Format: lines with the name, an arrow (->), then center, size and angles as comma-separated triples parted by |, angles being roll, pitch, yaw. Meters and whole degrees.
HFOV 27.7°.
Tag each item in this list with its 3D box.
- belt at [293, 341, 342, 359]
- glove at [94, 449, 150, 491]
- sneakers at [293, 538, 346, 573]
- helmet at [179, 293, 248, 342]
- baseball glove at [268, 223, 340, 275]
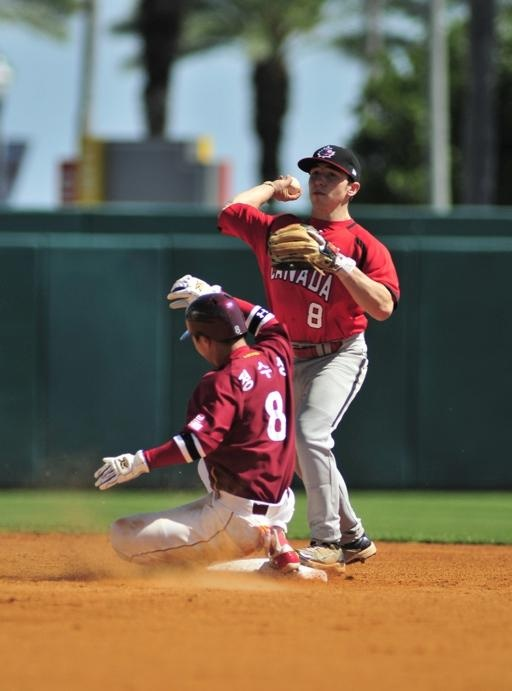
belt -> 0.222, 0.002, 3.917 | 0.128, 0.040, 0.087 | -7, 3, 2
glove -> -0.453, 0.406, 3.405 | 0.156, 0.145, 0.239 | 1, 2, -18
sneakers -> 0.243, 0.751, 3.717 | 0.227, 0.088, 0.078 | 14, -16, -30
helmet -> -0.144, -0.097, 3.479 | 0.228, 0.155, 0.156 | 9, 25, 37
baseball glove -> 0.139, -0.336, 3.602 | 0.230, 0.097, 0.158 | 16, -7, -23
